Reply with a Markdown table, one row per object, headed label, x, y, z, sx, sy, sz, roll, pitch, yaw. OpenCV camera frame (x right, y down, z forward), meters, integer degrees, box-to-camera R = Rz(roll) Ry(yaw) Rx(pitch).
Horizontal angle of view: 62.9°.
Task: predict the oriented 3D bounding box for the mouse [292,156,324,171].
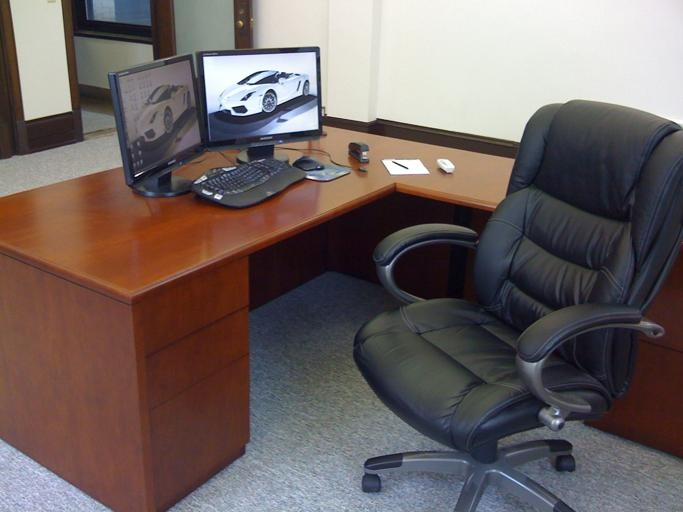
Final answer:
| label | x | y | z | sx | sy | sz | roll | pitch | yaw |
| --- | --- | --- | --- | --- | --- | --- | --- | --- | --- |
| mouse | -0.160 | -0.442 | 2.689 | 0.093 | 0.034 | 0.094 | -1 | 22 | -14 |

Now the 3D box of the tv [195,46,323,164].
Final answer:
| label | x | y | z | sx | sy | sz | roll | pitch | yaw |
| --- | --- | --- | --- | --- | --- | --- | --- | --- | --- |
| tv | -0.403 | -0.726 | 2.677 | 0.531 | 0.393 | 0.145 | -17 | 33 | -32 |

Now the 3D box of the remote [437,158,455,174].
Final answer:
| label | x | y | z | sx | sy | sz | roll | pitch | yaw |
| --- | --- | --- | --- | --- | --- | --- | --- | --- | --- |
| remote | 0.534 | -0.465 | 2.841 | 0.057 | 0.038 | 0.107 | -15 | 31 | -8 |

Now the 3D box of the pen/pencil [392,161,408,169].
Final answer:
| label | x | y | z | sx | sy | sz | roll | pitch | yaw |
| --- | --- | --- | --- | --- | --- | --- | --- | --- | --- |
| pen/pencil | 0.295 | -0.460 | 2.824 | 0.010 | 0.011 | 0.088 | -8 | 34 | -42 |
